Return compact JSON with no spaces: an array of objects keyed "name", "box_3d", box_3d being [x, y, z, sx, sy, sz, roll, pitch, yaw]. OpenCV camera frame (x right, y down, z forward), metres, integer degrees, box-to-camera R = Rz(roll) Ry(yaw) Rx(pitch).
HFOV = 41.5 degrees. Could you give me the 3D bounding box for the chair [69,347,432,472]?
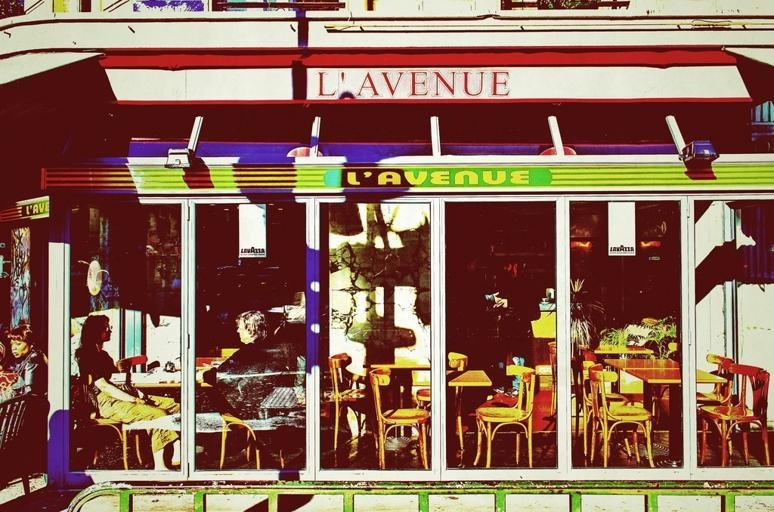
[{"name":"chair","box_3d":[-2.127,2.201,16.347,4.404,1.822,1.057,-1,5,-3]}]
